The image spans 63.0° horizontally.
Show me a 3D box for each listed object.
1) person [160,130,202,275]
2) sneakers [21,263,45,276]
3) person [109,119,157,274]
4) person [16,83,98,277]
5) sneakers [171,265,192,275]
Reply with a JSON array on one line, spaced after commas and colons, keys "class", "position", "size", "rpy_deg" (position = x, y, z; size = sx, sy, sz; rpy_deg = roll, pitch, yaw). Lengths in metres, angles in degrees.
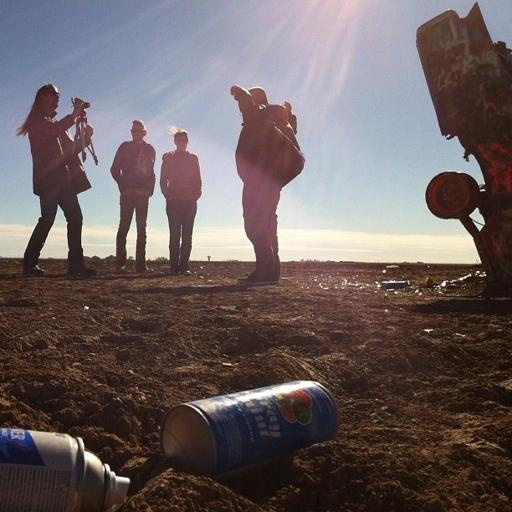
[{"class": "person", "position": [-1.366, -0.952, 7.537], "size": [0.723, 2.552, 0.418], "rpy_deg": [1, 6, -5]}, {"class": "sneakers", "position": [-3.123, 0.190, 5.829], "size": [0.246, 0.263, 0.155], "rpy_deg": [-4, 6, -27]}, {"class": "person", "position": [-2.105, -0.819, 7.185], "size": [0.694, 2.224, 0.411], "rpy_deg": [0, 6, -9]}, {"class": "person", "position": [-2.687, -0.968, 5.685], "size": [0.928, 2.608, 1.412], "rpy_deg": [-2, 7, -30]}, {"class": "sneakers", "position": [-1.395, 0.268, 7.600], "size": [0.283, 0.181, 0.231], "rpy_deg": [0, 0, -1]}]
